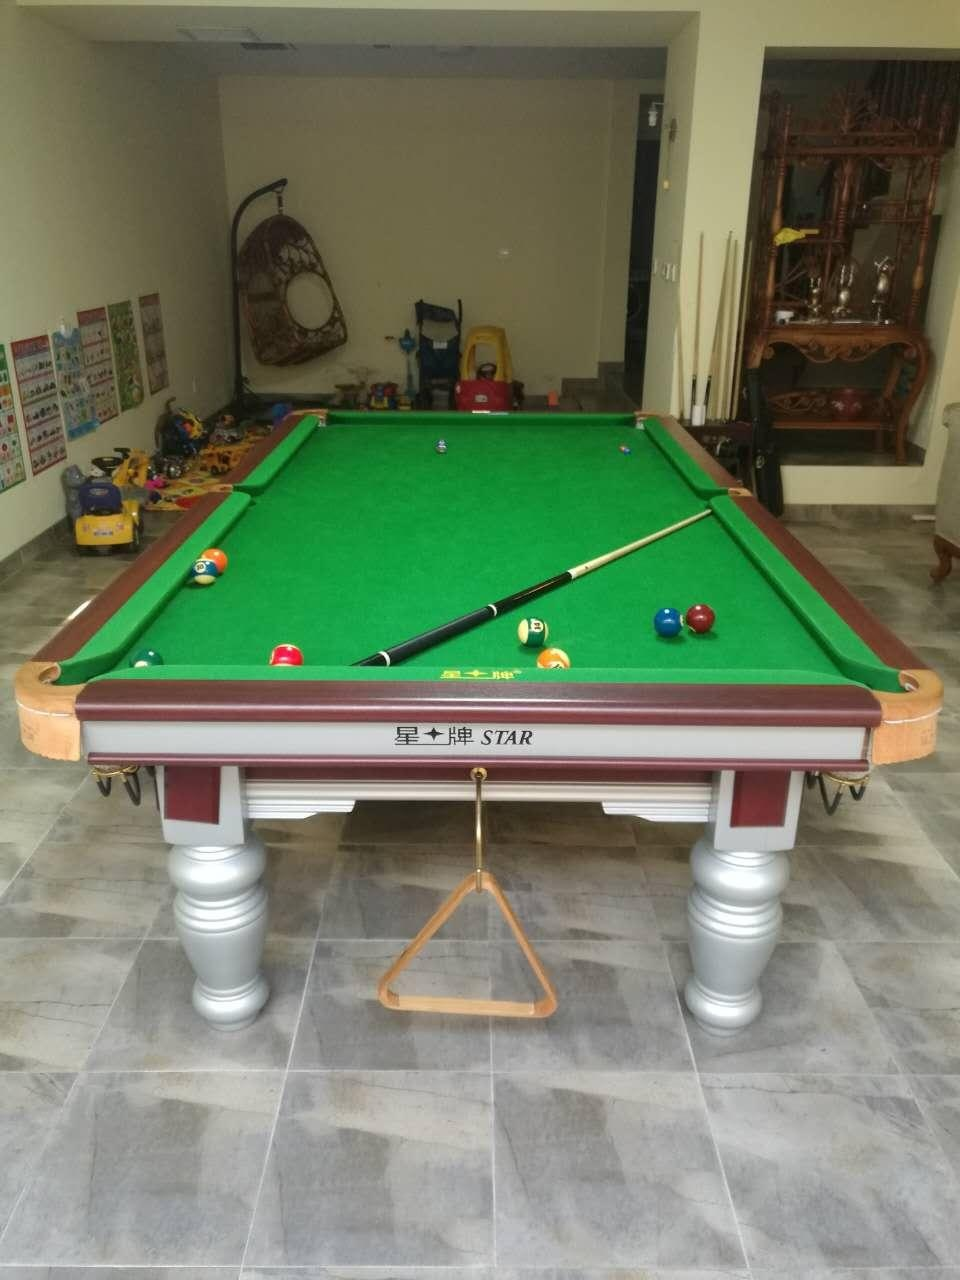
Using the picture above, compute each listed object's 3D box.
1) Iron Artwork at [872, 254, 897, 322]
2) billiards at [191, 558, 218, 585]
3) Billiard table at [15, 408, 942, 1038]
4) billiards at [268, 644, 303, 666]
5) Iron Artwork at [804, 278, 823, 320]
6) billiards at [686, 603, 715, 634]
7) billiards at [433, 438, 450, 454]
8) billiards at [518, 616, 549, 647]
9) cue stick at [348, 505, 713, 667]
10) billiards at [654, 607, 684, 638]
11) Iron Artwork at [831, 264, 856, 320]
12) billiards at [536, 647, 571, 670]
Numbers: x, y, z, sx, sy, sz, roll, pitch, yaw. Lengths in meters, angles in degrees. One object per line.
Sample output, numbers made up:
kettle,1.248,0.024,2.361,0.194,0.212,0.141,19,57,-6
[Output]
Iron Artwork,2.202,-1.880,5.552,0.104,0.300,0.299,10,29,17
billiards,-0.592,-0.144,2.195,0.056,0.062,0.054,-2,3,-6
Billiard table,0.006,-0.032,2.753,1.521,0.722,2.273,1,24,1
billiards,-0.339,0.032,1.776,0.046,0.027,0.044,1,-15,3
Iron Artwork,1.826,-1.839,5.542,0.087,0.209,0.248,8,28,14
billiards,0.413,-0.037,1.949,0.057,0.060,0.055,-3,4,-1
billiards,-0.134,-0.661,3.532,0.067,0.061,0.064,0,22,-2
billiards,0.098,-0.013,1.882,0.055,0.051,0.052,-1,4,-2
cue stick,0.109,-0.106,2.205,0.037,0.054,1.433,28,29,26
billiards,0.353,-0.036,1.946,0.055,0.053,0.054,12,20,28
Iron Artwork,2.000,-1.864,5.555,0.122,0.318,0.095,6,-6,-11
billiards,0.133,0.030,1.753,0.037,0.024,0.044,0,23,-6
